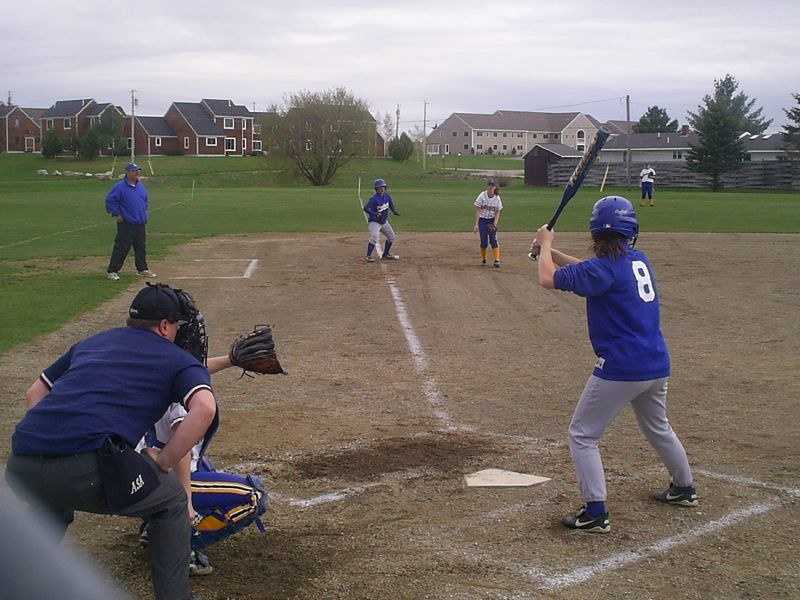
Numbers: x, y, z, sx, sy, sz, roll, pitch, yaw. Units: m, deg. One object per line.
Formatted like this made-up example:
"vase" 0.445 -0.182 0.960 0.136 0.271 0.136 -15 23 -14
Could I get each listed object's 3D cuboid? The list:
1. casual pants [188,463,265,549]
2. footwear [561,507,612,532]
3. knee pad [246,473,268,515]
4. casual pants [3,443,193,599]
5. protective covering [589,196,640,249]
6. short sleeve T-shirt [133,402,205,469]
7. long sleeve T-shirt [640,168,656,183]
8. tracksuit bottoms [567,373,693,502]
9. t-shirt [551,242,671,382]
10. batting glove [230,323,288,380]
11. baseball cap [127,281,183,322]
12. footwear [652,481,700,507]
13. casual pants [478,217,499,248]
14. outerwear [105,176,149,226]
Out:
"casual pants" -1.336 1.503 7.162 0.637 0.283 0.566 1 18 -12
"footwear" 1.453 1.729 7.702 0.443 0.175 0.149 3 -3 10
"knee pad" -1.025 1.425 7.232 0.133 0.261 0.212 -7 -4 13
"casual pants" -1.898 1.392 6.207 1.029 0.997 0.599 8 32 6
"protective covering" 1.719 -0.608 7.922 0.423 0.438 0.498 3 6 26
"short sleeve T-shirt" -1.571 0.896 6.566 0.217 0.372 0.392 42 -2 -34
"long sleeve T-shirt" 8.572 -4.317 33.893 0.366 0.491 0.773 1 13 7
"tracksuit bottoms" 1.913 1.195 8.185 1.037 1.515 0.624 -1 23 23
"t-shirt" 1.596 0.079 7.869 1.156 0.993 0.951 -4 15 -35
"batting glove" -0.950 0.326 7.175 0.350 0.176 0.423 23 1 5
"baseball cap" -1.658 0.012 6.782 0.248 0.193 0.324 8 10 13
"footwear" 2.252 1.593 8.035 0.403 0.166 0.141 3 2 12
"casual pants" 1.673 -1.276 18.846 0.364 0.570 0.499 0 14 4
"outerwear" -4.642 -1.719 16.765 0.463 0.716 0.910 12 12 28
